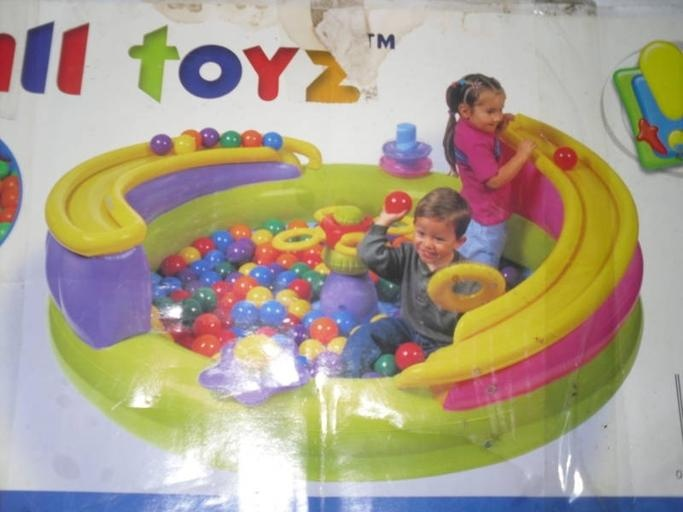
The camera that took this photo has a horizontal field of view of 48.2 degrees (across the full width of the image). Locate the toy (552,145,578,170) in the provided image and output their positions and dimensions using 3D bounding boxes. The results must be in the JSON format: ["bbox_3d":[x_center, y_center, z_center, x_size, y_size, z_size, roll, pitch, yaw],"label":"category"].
[{"bbox_3d":[0.890,-0.386,3.038,0.098,0.088,0.026,-3,-1,-13],"label":"toy"}]
